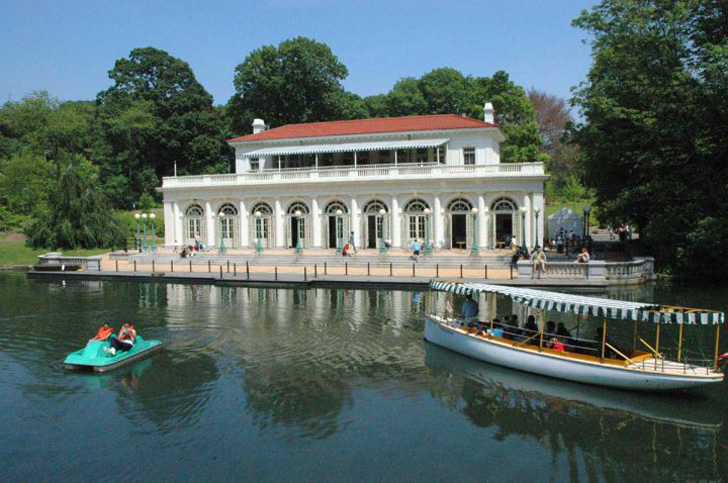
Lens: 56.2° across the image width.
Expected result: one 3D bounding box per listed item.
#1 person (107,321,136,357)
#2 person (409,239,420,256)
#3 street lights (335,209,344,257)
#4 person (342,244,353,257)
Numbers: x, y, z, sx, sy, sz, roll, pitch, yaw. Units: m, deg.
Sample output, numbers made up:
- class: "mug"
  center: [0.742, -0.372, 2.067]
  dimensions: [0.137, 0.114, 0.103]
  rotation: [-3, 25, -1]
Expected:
- class: "person"
  center: [-11.979, 4.887, 33.662]
  dimensions: [0.626, 0.864, 1.455]
  rotation: [-22, 24, 7]
- class: "person"
  center: [4.152, 0.564, 55.636]
  dimensions: [0.920, 0.703, 2.124]
  rotation: [14, -13, 3]
- class: "street lights"
  center: [-2.157, -1.191, 60.973]
  dimensions: [0.654, 3.403, 0.856]
  rotation: [-2, 0, -3]
- class: "person"
  center: [-1.344, 0.724, 56.526]
  dimensions: [0.753, 1.039, 1.886]
  rotation: [-2, -1, 19]
